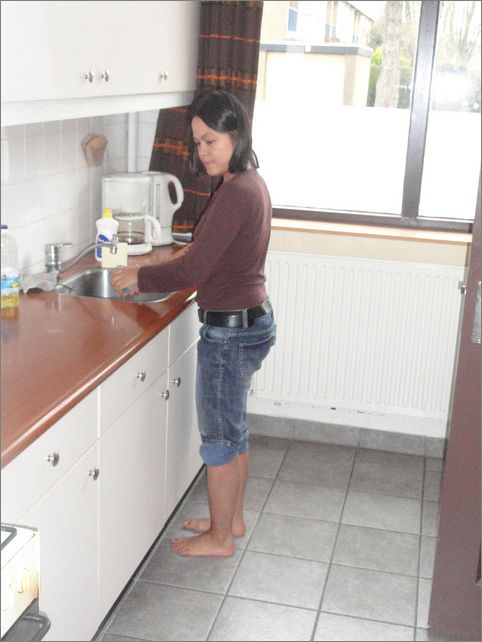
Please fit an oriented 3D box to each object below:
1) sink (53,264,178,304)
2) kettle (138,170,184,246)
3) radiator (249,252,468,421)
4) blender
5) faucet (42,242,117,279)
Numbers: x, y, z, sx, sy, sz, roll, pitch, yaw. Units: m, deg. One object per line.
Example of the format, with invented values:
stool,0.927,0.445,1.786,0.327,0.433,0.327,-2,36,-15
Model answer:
sink,-0.578,-0.182,2.138,0.325,0.228,0.310,6,18,11
kettle,-0.432,-0.624,2.693,0.211,0.370,0.181,5,19,5
radiator,0.678,0.078,2.760,1.176,0.874,0.524,7,21,11
blender,-0.570,-0.550,2.548,0.271,0.415,0.224,0,23,-6
faucet,-0.693,-0.300,2.212,0.265,0.192,0.265,8,23,9
